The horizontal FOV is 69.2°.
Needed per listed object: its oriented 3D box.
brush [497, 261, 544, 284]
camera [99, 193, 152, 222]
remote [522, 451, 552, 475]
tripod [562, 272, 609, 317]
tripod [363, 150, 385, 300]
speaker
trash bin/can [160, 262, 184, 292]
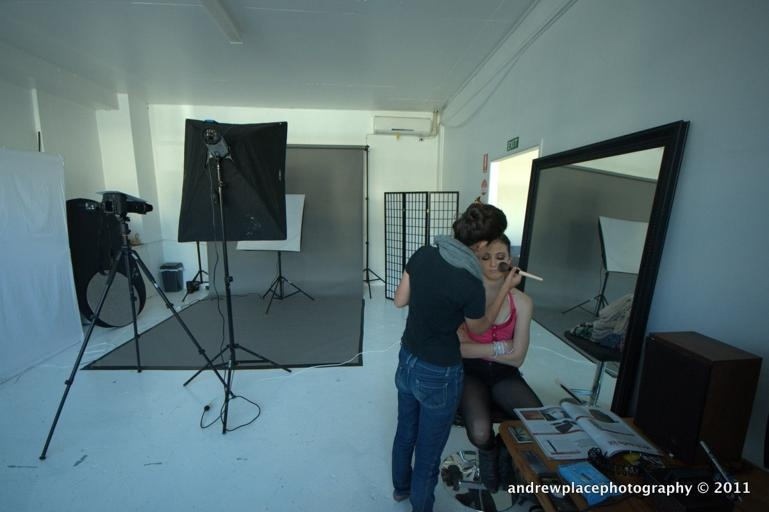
[{"bbox_3d":[1.159,0.140,4.733,0.439,0.135,0.048,24,1,-3],"label":"brush"},{"bbox_3d":[-2.277,-0.446,4.937,0.255,0.215,0.453,3,6,16],"label":"camera"},{"bbox_3d":[1.070,1.476,3.941,0.090,0.020,0.259,-7,26,-5],"label":"remote"},{"bbox_3d":[1.738,0.302,4.704,0.315,0.472,0.280,2,11,1],"label":"tripod"},{"bbox_3d":[-0.153,-0.520,7.956,0.322,2.049,0.458,2,11,1],"label":"tripod"},{"bbox_3d":[2.222,1.008,3.884,0.477,0.985,0.670,-7,16,-25],"label":"speaker"},{"bbox_3d":[-2.928,0.298,7.781,0.346,0.470,0.347,-2,6,-3],"label":"trash bin/can"}]
